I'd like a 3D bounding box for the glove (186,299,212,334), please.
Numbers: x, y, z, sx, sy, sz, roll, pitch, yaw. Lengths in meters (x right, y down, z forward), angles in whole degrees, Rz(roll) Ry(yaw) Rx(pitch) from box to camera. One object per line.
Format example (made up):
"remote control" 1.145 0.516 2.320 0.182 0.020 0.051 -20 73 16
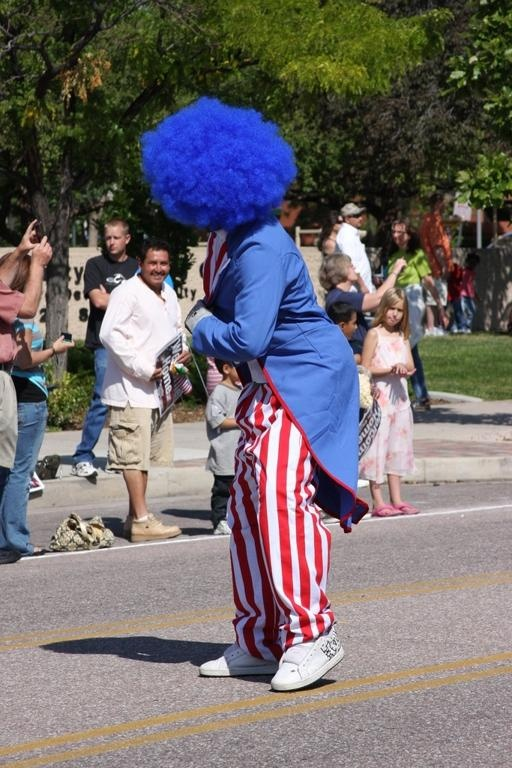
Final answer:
"glove" -0.203 -0.231 3.689 0.042 0.108 0.110 30 2 -3

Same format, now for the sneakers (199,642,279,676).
"sneakers" -0.057 0.993 3.895 0.304 0.113 0.106 2 -1 3

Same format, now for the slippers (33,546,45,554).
"slippers" -1.343 1.032 6.709 0.045 0.033 0.057 1 6 -2

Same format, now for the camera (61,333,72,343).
"camera" -1.121 -0.270 6.421 0.062 0.052 0.058 -2 2 -7

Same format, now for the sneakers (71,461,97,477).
"sneakers" -1.433 0.710 9.077 0.212 0.141 0.237 -2 4 -10

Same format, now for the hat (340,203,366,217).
"hat" 0.885 -1.578 9.913 0.184 0.095 0.127 -5 35 17

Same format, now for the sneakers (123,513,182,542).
"sneakers" -0.670 0.946 7.217 0.423 0.187 0.143 -3 7 -9

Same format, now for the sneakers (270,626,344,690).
"sneakers" 0.181 0.896 3.673 0.117 0.135 0.340 7 21 38

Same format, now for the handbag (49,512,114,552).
"handbag" -1.109 0.935 6.903 0.343 0.153 0.224 -3 7 -30
